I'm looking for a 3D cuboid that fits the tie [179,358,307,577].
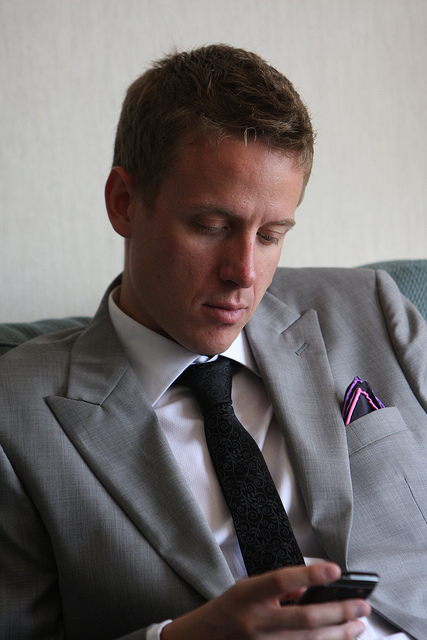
[{"bbox_3d":[0.046,0.225,0.957,0.116,0.021,0.403,-11,45,-10],"label":"tie"}]
